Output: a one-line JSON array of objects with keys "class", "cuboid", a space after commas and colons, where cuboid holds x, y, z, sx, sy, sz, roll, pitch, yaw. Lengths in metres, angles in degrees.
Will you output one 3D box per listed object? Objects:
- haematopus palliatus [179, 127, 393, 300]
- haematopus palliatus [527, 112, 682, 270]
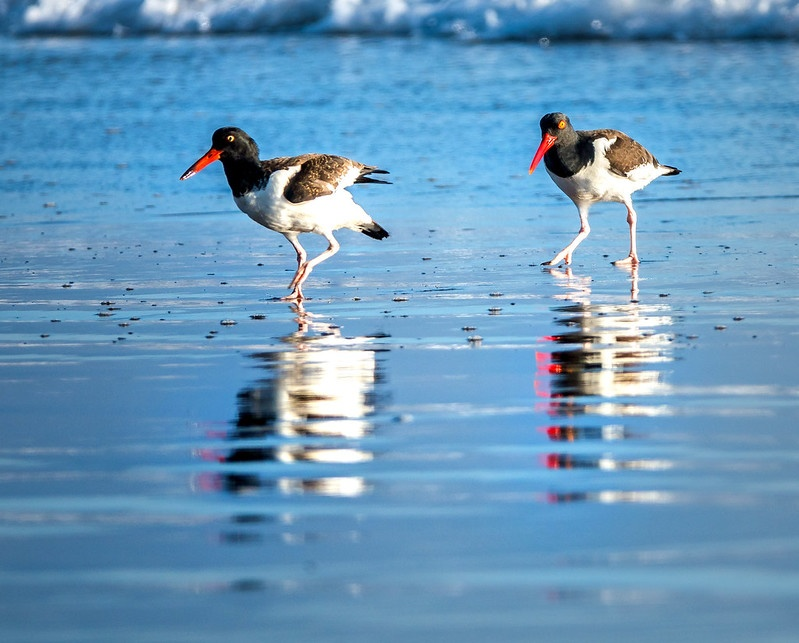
[{"class": "haematopus palliatus", "cuboid": [-1.038, -1.092, 13.087, 1.643, 1.870, 0.939, 1, -6, -5]}, {"class": "haematopus palliatus", "cuboid": [2.161, -1.467, 14.581, 1.268, 1.722, 0.637, 0, -6, 5]}]
